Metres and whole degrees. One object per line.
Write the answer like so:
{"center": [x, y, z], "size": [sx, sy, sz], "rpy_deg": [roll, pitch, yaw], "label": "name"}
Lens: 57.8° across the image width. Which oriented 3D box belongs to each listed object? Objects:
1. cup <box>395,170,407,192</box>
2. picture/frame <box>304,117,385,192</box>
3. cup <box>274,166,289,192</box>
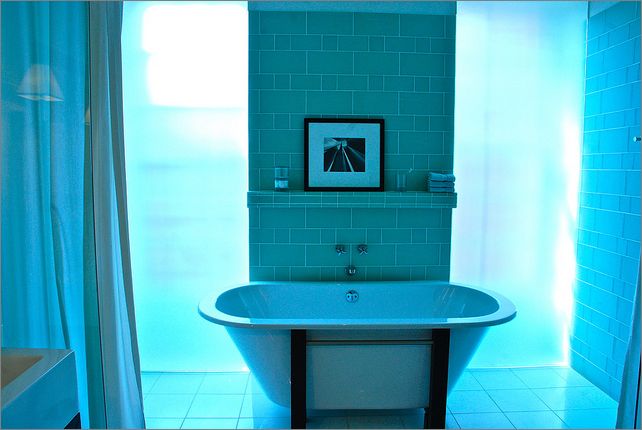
{"center": [0.753, -0.316, 5.429], "size": [0.103, 0.185, 0.135], "rpy_deg": [1, 9, 13], "label": "cup"}
{"center": [0.193, -0.584, 5.399], "size": [0.747, 0.598, 0.049], "rpy_deg": [0, 1, -4], "label": "picture/frame"}
{"center": [-0.359, -0.331, 5.324], "size": [0.121, 0.215, 0.051], "rpy_deg": [-2, 10, -5], "label": "cup"}
